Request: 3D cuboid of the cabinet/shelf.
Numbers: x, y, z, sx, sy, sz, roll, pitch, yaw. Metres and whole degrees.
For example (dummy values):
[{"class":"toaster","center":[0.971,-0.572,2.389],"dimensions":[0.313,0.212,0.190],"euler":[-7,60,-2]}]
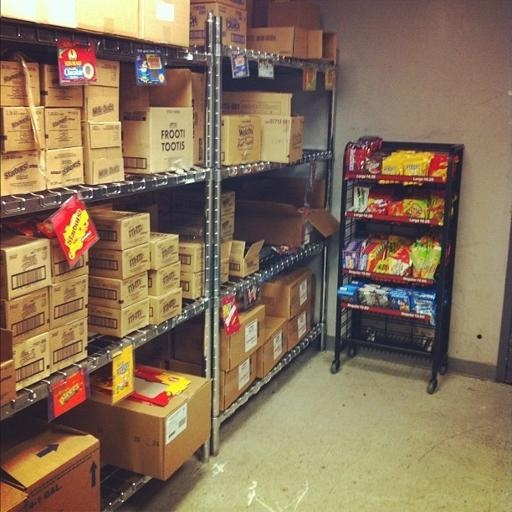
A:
[{"class":"cabinet/shelf","center":[0.924,0.064,3.277],"dimensions":[0.677,1.540,0.468],"euler":[6,9,26]}]
